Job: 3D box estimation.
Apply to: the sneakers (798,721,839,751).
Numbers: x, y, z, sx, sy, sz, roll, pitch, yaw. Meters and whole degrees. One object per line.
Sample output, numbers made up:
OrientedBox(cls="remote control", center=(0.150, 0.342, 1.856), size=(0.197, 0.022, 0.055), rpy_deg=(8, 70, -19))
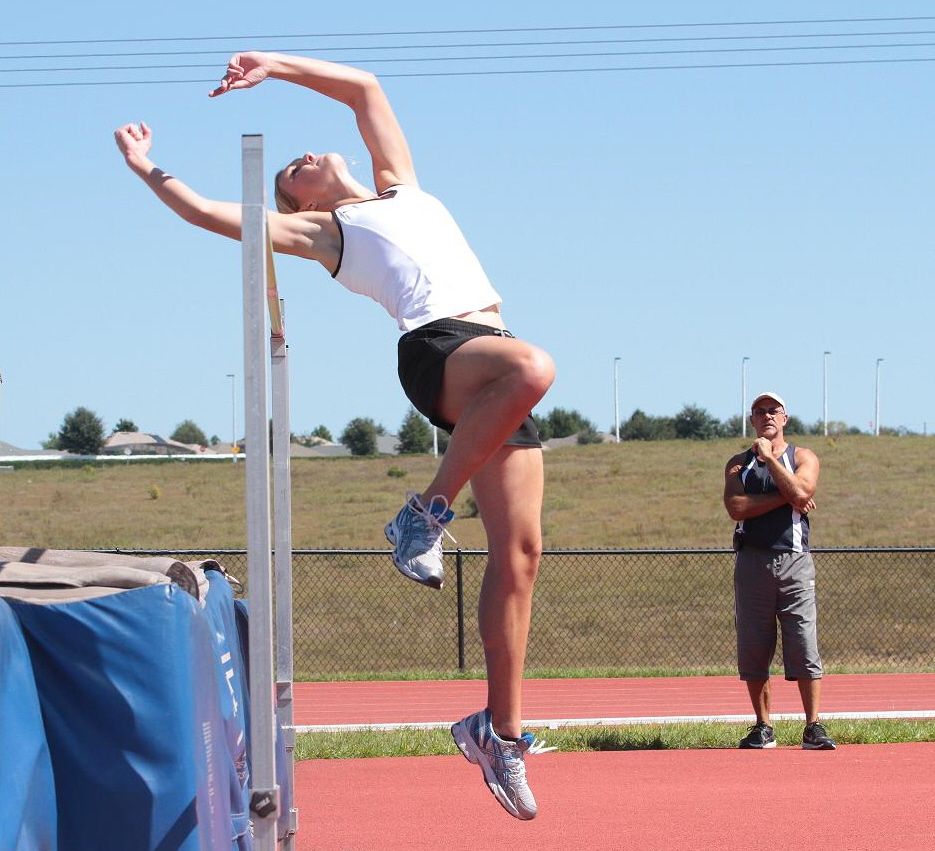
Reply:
OrientedBox(cls="sneakers", center=(1.796, 1.565, 10.483), size=(0.163, 0.123, 0.176), rpy_deg=(2, -1, 10))

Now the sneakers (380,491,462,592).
OrientedBox(cls="sneakers", center=(-0.152, 0.393, 7.521), size=(0.179, 0.257, 0.507), rpy_deg=(21, 15, -19))

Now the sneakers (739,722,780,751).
OrientedBox(cls="sneakers", center=(1.495, 1.580, 10.549), size=(0.181, 0.119, 0.105), rpy_deg=(2, -1, 9))

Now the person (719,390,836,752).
OrientedBox(cls="person", center=(1.618, 0.743, 10.714), size=(0.502, 1.616, 0.709), rpy_deg=(2, -1, -14))

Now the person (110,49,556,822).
OrientedBox(cls="person", center=(-0.347, 0.049, 7.562), size=(1.309, 2.655, 0.987), rpy_deg=(2, -1, 1))
